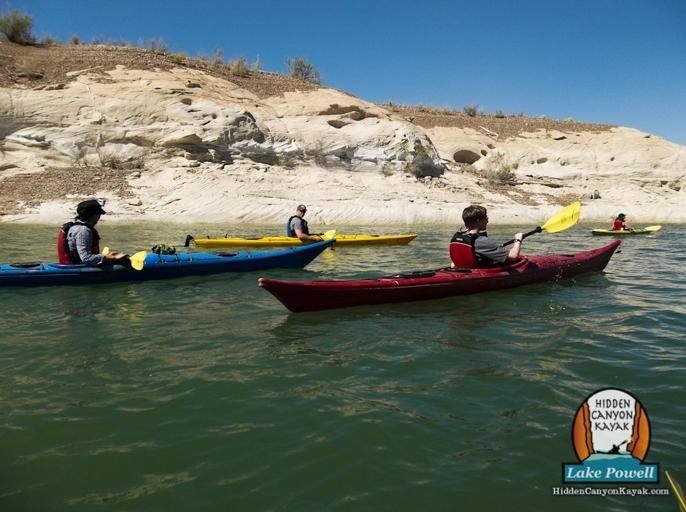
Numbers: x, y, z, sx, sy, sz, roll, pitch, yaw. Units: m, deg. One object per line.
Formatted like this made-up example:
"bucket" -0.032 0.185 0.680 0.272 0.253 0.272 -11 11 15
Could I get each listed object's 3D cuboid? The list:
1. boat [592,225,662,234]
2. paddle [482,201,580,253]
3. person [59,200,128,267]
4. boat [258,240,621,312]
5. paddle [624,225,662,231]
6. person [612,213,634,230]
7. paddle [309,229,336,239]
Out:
"boat" 9.297 -0.857 19.437 2.883 0.209 0.731 0 -2 -8
"paddle" 3.573 -0.465 11.107 0.431 0.263 2.899 -45 2 -22
"person" -4.011 -0.367 9.560 0.872 1.060 0.786 -5 8 -32
"boat" 1.519 0.346 9.881 6.416 0.364 0.860 -6 8 -17
"paddle" 10.031 -0.928 19.931 0.485 0.182 1.817 -16 -4 34
"person" 8.586 -1.027 18.305 0.530 0.494 0.949 5 7 43
"paddle" -0.540 -0.483 13.975 0.861 0.195 0.224 6 -22 -30
